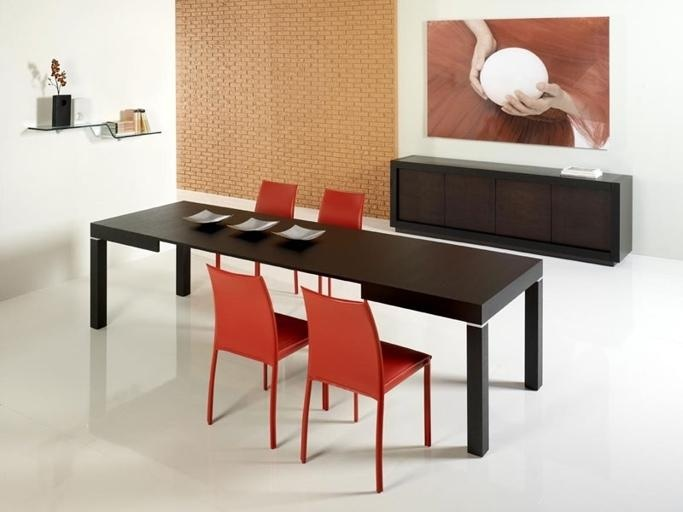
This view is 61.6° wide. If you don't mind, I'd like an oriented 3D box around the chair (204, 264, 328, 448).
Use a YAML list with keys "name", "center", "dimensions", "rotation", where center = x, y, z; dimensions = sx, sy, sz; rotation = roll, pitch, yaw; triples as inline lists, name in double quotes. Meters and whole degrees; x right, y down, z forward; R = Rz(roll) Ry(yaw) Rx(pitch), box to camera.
- name: "chair"
  center: [-0.470, 0.558, 3.580]
  dimensions: [0.558, 1.035, 0.652]
  rotation: [9, 13, 33]

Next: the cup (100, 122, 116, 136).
- name: "cup"
  center: [-2.333, -1.247, 5.664]
  dimensions: [0.166, 0.145, 0.137]
  rotation: [-5, 15, -24]

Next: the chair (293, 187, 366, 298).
- name: "chair"
  center: [-0.092, -0.084, 5.174]
  dimensions: [0.504, 0.648, 0.909]
  rotation: [11, -34, -18]

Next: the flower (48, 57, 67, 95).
- name: "flower"
  center: [-2.612, -1.645, 5.245]
  dimensions: [0.113, 0.324, 0.200]
  rotation: [9, 15, 31]

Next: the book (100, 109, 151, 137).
- name: "book"
  center: [-2.208, -1.293, 5.800]
  dimensions: [0.303, 0.218, 0.312]
  rotation: [7, 12, 34]
